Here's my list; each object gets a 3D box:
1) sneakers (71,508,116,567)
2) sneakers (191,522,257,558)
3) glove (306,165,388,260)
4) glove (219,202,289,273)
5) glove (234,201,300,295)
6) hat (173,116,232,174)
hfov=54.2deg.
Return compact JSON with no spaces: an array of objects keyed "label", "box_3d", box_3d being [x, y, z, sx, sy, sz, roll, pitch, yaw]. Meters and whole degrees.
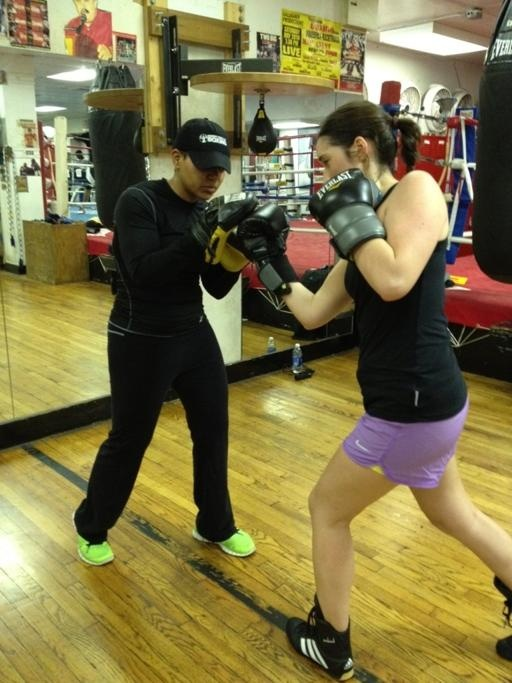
[{"label":"sneakers","box_3d":[-0.576,0.711,1.795,0.100,0.085,0.211,3,3,-44]},{"label":"sneakers","box_3d":[-0.117,0.722,1.868,0.201,0.079,0.097,7,15,17]},{"label":"glove","box_3d":[0.162,-0.232,0.914,0.098,0.157,0.168,-2,14,-7]},{"label":"glove","box_3d":[0.011,-0.239,1.250,0.095,0.217,0.170,-27,33,9]},{"label":"glove","box_3d":[0.051,-0.234,1.274,0.104,0.213,0.171,-29,6,-40]},{"label":"hat","box_3d":[-0.154,-0.545,1.450,0.180,0.100,0.131,42,35,27]}]
